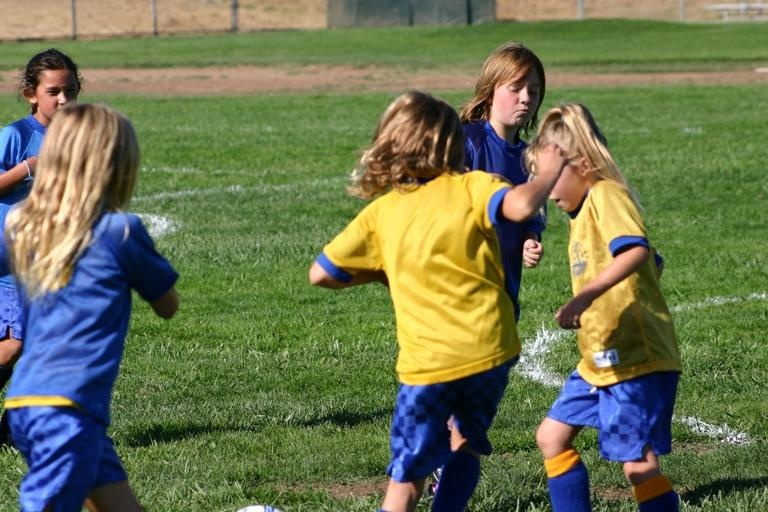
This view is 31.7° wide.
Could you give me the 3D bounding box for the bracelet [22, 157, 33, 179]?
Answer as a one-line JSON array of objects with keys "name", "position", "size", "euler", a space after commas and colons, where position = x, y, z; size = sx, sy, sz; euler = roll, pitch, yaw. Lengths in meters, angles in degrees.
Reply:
[{"name": "bracelet", "position": [-3.382, -0.860, 12.844], "size": [0.119, 0.133, 0.150], "euler": [-7, -9, 1]}]
